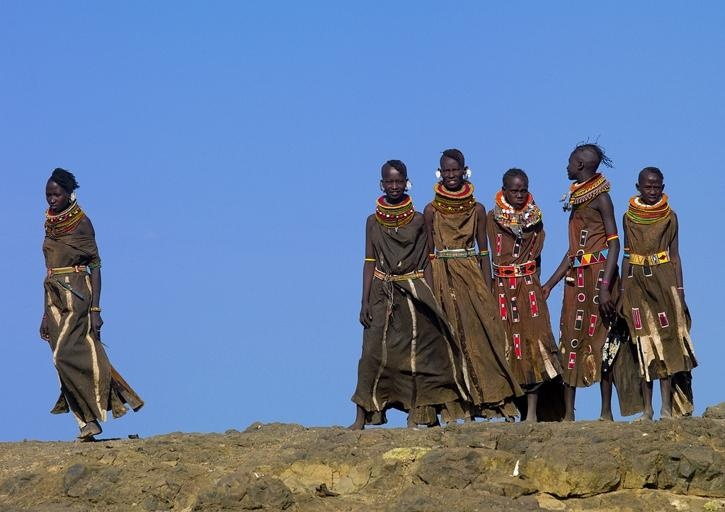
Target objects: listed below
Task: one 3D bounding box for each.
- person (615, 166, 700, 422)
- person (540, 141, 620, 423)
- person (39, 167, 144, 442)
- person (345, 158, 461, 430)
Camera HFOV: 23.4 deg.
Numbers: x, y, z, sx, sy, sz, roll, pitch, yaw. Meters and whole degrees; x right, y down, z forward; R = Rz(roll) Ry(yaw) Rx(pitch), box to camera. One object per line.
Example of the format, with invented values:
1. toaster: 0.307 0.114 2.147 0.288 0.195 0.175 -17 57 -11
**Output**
1. person: 3.562 0.455 21.381 0.854 3.058 0.400 -4 -8 8
2. person: 2.753 0.342 21.548 0.592 3.445 0.925 3 -10 -38
3. person: -3.627 0.630 22.535 1.020 3.531 0.574 -2 -8 -11
4. person: 0.507 0.486 21.616 1.403 3.283 0.858 -2 -8 -7
